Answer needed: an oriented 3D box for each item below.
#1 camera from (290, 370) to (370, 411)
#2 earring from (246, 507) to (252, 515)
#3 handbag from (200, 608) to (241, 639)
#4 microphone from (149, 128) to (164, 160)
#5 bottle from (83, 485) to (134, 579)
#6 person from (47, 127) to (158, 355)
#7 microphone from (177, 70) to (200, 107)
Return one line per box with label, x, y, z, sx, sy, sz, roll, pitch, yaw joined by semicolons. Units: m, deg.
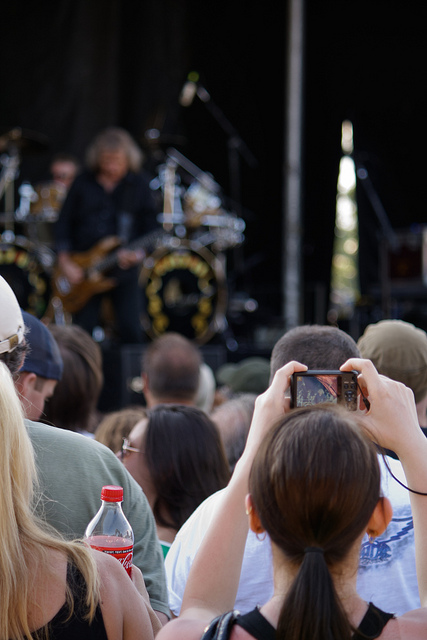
camera;0.246;0.155;2.362;0.217;0.082;0.179;-4;7;-7
earring;0.073;0.391;2.070;0.017;0.015;0.004;-9;2;-11
handbag;0.016;0.582;1.964;0.049;0.023;0.063;-8;31;41
microphone;-0.444;-1.347;7.716;0.095;0.195;0.240;4;-5;4
bottle;-0.233;0.459;2.219;0.111;0.196;0.210;4;-5;-6
person;-0.802;-0.505;7.297;0.872;1.564;0.269;11;-6;-5
microphone;-0.185;-1.762;7.705;0.144;0.257;0.064;22;0;21
